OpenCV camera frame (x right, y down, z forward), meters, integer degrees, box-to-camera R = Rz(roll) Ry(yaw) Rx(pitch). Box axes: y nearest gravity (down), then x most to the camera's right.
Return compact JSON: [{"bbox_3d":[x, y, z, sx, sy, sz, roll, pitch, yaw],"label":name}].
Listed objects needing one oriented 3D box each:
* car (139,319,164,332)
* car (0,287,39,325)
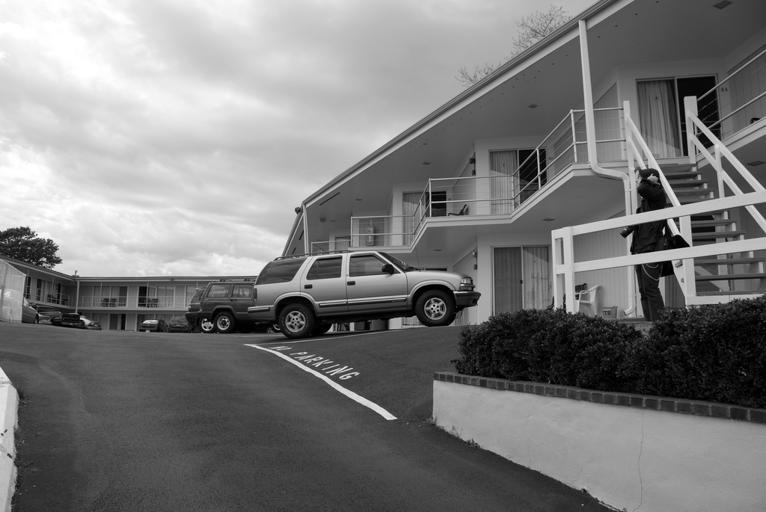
[{"bbox_3d":[-17.618,5.335,41.206,1.461,0.914,2.464,0,-2,-5],"label":"car"},{"bbox_3d":[-20.822,2.957,30.454,1.482,1.179,3.365,1,-3,-22],"label":"car"}]
